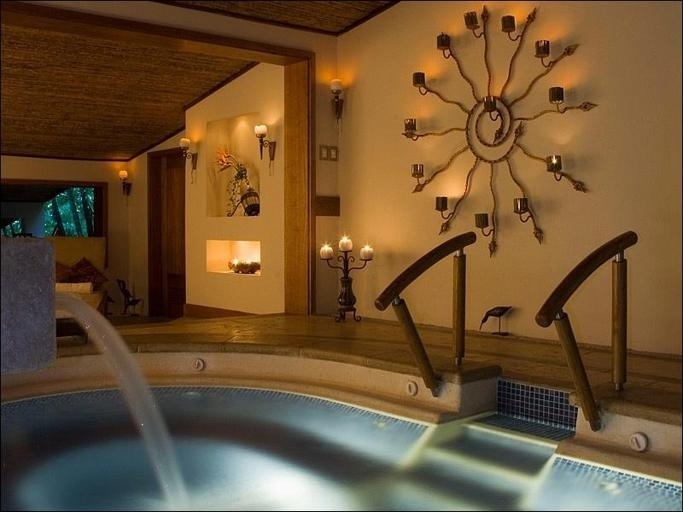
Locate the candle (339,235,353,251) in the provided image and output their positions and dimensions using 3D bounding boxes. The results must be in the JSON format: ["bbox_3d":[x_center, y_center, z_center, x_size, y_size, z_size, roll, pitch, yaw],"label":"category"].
[{"bbox_3d":[0.054,-0.145,5.349,0.155,0.157,0.160,2,-2,-2],"label":"candle"}]

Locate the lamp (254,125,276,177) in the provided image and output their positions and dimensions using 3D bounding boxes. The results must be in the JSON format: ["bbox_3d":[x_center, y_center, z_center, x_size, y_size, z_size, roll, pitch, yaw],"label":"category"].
[{"bbox_3d":[-0.979,-1.389,6.310,0.224,0.643,0.352,-8,10,-27],"label":"lamp"}]

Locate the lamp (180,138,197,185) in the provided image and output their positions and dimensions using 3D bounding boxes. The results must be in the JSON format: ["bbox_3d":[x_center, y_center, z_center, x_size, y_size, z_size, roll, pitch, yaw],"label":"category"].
[{"bbox_3d":[-2.314,-1.485,7.566,0.249,0.693,0.290,-6,9,-17],"label":"lamp"}]

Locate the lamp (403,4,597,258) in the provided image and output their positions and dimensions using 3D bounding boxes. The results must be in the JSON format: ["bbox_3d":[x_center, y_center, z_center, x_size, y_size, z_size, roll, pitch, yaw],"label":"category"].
[{"bbox_3d":[1.419,-1.200,4.656,0.512,2.380,1.784,-10,11,-36],"label":"lamp"}]

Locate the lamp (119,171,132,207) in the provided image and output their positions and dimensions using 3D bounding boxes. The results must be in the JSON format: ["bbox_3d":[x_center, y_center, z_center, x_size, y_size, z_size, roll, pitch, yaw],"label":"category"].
[{"bbox_3d":[-4.283,-1.366,9.757,0.183,0.701,0.291,-9,11,-34],"label":"lamp"}]

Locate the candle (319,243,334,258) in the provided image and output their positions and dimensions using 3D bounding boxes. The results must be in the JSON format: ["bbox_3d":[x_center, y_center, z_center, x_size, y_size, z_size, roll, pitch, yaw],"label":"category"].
[{"bbox_3d":[-0.160,-0.061,5.519,0.146,0.139,0.150,2,0,-7],"label":"candle"}]

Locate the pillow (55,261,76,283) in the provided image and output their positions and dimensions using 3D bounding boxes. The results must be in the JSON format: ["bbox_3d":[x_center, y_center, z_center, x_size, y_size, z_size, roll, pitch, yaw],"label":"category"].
[{"bbox_3d":[-4.537,0.250,8.031,0.228,0.264,0.672,-8,10,-29],"label":"pillow"}]

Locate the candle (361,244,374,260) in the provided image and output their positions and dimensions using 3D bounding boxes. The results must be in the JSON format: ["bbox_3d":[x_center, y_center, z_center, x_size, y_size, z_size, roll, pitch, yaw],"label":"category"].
[{"bbox_3d":[0.294,-0.043,5.441,0.142,0.121,0.146,4,0,7],"label":"candle"}]

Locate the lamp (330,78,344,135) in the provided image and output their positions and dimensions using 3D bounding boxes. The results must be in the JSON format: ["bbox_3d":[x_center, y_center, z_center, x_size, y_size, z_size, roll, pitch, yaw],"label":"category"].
[{"bbox_3d":[-0.019,-1.818,5.968,0.175,0.611,0.217,-4,9,-7],"label":"lamp"}]
